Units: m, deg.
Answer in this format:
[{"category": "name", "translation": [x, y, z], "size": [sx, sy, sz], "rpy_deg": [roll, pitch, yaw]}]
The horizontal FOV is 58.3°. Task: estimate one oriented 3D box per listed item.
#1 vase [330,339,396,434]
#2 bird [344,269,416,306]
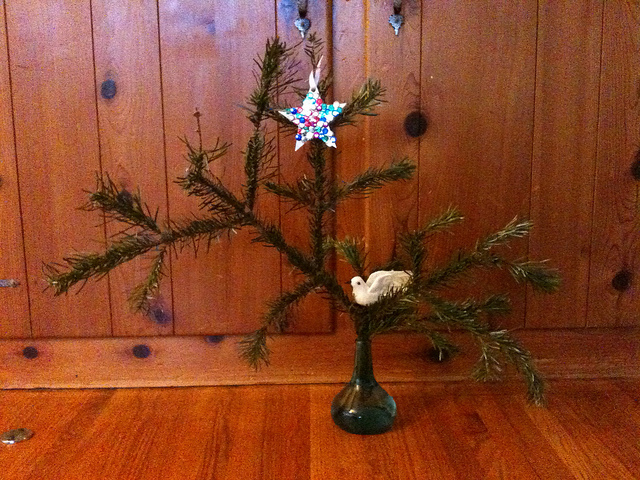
[{"category": "vase", "translation": [0.102, 0.340, 1.365], "size": [0.165, 0.149, 0.210], "rpy_deg": [-1, -88, -13]}, {"category": "bird", "translation": [0.151, 0.113, 1.294], "size": [0.164, 0.115, 0.064], "rpy_deg": [-7, -65, -4]}]
